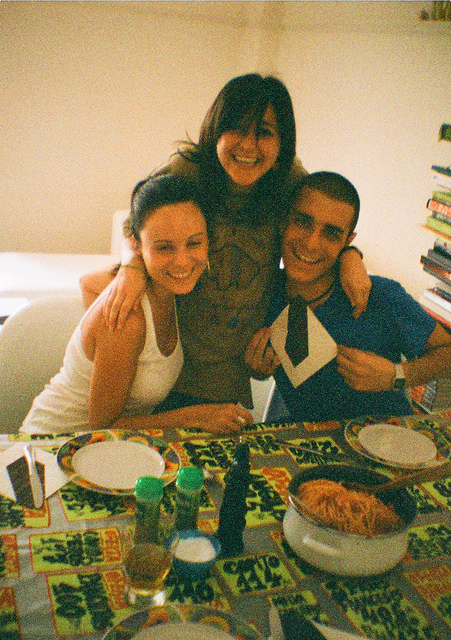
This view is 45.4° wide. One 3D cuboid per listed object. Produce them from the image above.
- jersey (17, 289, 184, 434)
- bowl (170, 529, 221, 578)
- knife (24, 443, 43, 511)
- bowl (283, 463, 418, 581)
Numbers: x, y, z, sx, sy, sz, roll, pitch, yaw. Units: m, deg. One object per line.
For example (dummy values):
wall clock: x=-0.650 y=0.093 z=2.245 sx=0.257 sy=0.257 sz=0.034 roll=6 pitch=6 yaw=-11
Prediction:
jersey: x=-0.373 y=0.109 z=1.556 sx=0.447 sy=0.399 sz=0.348 roll=-10 pitch=24 yaw=-31
bowl: x=-0.046 y=0.366 z=0.844 sx=0.074 sy=0.048 sz=0.096 roll=1 pitch=13 yaw=1
knife: x=-0.354 y=0.289 z=0.984 sx=0.031 sy=0.010 sz=0.203 roll=-15 pitch=23 yaw=-13
bowl: x=0.201 y=0.336 z=0.908 sx=0.203 sy=0.128 sz=0.196 roll=1 pitch=13 yaw=0
